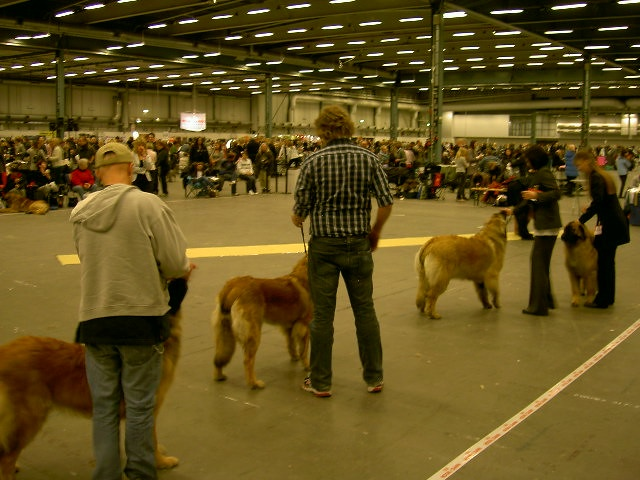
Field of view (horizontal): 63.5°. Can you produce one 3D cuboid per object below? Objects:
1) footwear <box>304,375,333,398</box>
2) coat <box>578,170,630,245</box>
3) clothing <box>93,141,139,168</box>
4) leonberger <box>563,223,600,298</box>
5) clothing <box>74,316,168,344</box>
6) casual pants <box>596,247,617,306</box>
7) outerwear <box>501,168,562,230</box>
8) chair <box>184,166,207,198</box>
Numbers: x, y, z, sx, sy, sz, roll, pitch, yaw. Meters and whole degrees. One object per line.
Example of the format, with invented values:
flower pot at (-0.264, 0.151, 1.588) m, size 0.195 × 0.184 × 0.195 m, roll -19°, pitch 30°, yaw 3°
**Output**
footwear at (-0.033, 1.345, 4.698) m, size 0.116 × 0.135 × 0.303 m, roll 0°, pitch 8°, yaw -30°
coat at (4.014, -0.442, 7.237) m, size 0.659 × 1.030 × 0.278 m, roll 1°, pitch 9°, yaw -6°
clothing at (-1.267, -0.531, 3.225) m, size 0.167 × 0.109 × 0.215 m, roll -1°, pitch 21°, yaw -5°
leonberger at (3.904, 0.364, 7.729) m, size 0.416 × 1.229 × 1.337 m, roll -6°, pitch -4°, yaw 36°
clothing at (-1.171, 0.535, 3.088) m, size 0.339 × 0.111 × 0.236 m, roll -1°, pitch -3°, yaw -5°
casual pants at (4.038, 0.523, 7.334) m, size 0.201 × 0.806 × 0.444 m, roll 5°, pitch -6°, yaw 16°
outerwear at (2.914, -0.541, 6.891) m, size 0.477 × 0.821 × 0.681 m, roll 2°, pitch 9°, yaw 0°
chair at (-4.778, -2.482, 20.569) m, size 0.713 × 1.030 × 1.561 m, roll -1°, pitch -32°, yaw -15°
